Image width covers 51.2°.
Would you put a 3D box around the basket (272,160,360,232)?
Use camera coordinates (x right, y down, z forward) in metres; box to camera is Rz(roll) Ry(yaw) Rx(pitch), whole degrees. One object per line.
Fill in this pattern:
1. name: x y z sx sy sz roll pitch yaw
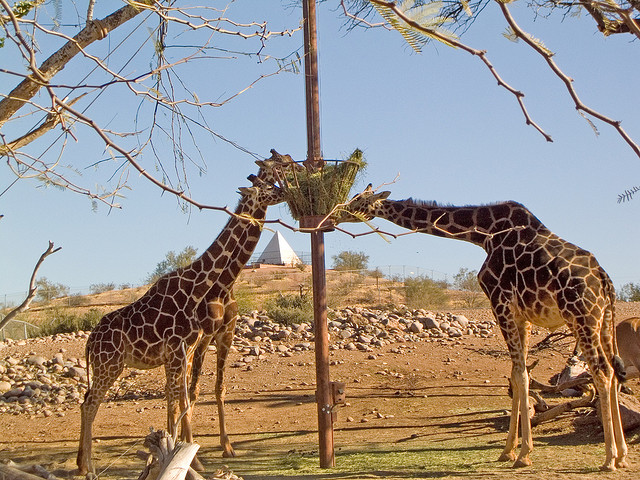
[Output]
1. basket: -0.068 -0.544 8.740 1.182 0.883 1.190 0 -9 -37

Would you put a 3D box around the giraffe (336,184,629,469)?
1. giraffe: 2.512 1.067 8.544 2.579 3.215 0.969 -1 1 25
